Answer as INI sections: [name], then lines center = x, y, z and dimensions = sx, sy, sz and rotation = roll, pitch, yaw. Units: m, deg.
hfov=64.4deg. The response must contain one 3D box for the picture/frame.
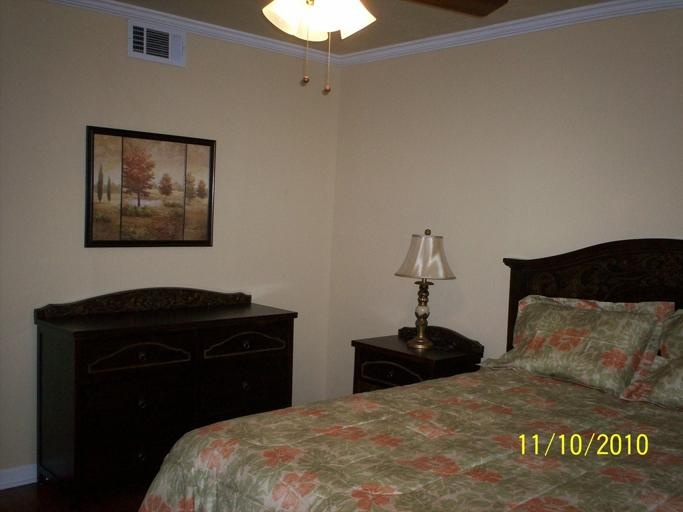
[picture/frame]
center = -1.372, -0.496, 3.788
dimensions = 0.860, 0.801, 0.060
rotation = 0, 2, -40

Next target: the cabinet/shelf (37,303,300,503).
[cabinet/shelf]
center = -1.044, 0.890, 3.669
dimensions = 1.443, 1.021, 0.527
rotation = -1, -3, -35
